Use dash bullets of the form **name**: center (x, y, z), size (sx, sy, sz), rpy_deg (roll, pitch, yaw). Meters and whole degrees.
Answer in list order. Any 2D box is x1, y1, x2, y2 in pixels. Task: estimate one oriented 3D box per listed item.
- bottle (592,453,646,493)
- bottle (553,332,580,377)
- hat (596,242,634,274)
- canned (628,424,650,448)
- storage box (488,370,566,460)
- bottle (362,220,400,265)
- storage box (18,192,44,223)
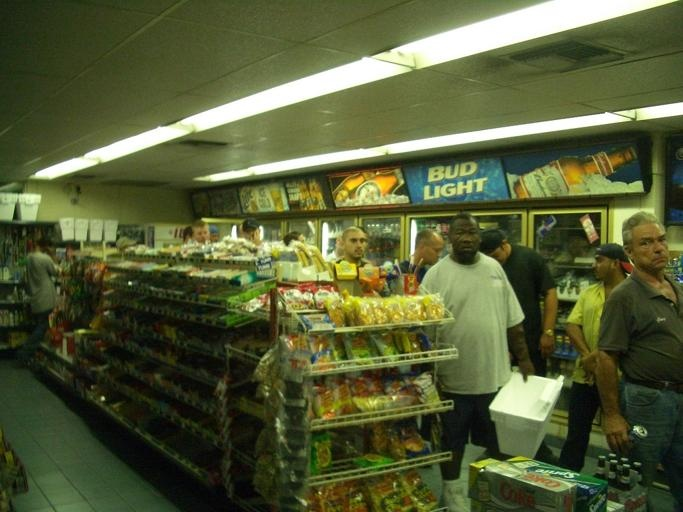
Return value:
- **bottle**: center (1.801, 1.380, 4.266), size (0.314, 0.282, 0.287), rpy_deg (-1, -1, -43)
- **bottle**: center (2.336, 1.036, 6.788), size (0.268, 0.305, 0.780), rpy_deg (-1, -4, 5)
- **hat**: center (2.172, -0.001, 5.225), size (0.290, 0.173, 0.193), rpy_deg (25, 0, -2)
- **canned**: center (2.003, 1.204, 4.353), size (0.137, 0.116, 0.100), rpy_deg (-5, 8, -29)
- **storage box**: center (1.249, 1.087, 4.430), size (0.373, 0.382, 0.594), rpy_deg (3, 11, 25)
- **bottle**: center (0.523, -0.181, 8.242), size (0.507, 0.405, 0.051), rpy_deg (-13, -11, 28)
- **storage box**: center (-4.756, -0.731, 9.767), size (0.386, 0.500, 0.425), rpy_deg (-2, -4, 45)
